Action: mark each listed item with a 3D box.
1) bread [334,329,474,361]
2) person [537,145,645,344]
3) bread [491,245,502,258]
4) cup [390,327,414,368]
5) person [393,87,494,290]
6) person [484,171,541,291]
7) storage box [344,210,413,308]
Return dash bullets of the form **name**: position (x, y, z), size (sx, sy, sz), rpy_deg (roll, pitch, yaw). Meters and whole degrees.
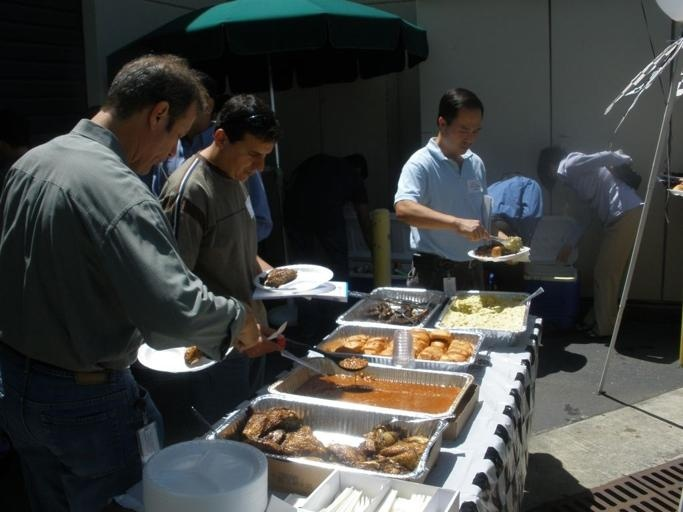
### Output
- **bread**: position (0.380, 0.499, 3.112), size (0.457, 0.086, 0.311), rpy_deg (-1, 8, 19)
- **person**: position (3.050, -0.250, 6.557), size (1.123, 2.076, 1.216), rpy_deg (-5, 13, -12)
- **bread**: position (1.042, -0.035, 3.724), size (0.061, 0.064, 0.065), rpy_deg (-6, 16, -5)
- **cup**: position (0.320, 0.463, 2.859), size (0.151, 0.226, 0.152), rpy_deg (-1, 7, 0)
- **person**: position (0.740, -0.440, 4.026), size (0.652, 1.484, 0.770), rpy_deg (1, 13, 15)
- **person**: position (1.883, -0.431, 6.056), size (0.793, 1.440, 0.492), rpy_deg (2, 11, 26)
- **storage box**: position (0.499, 0.160, 6.816), size (0.755, 1.089, 1.470), rpy_deg (-8, 0, 17)
